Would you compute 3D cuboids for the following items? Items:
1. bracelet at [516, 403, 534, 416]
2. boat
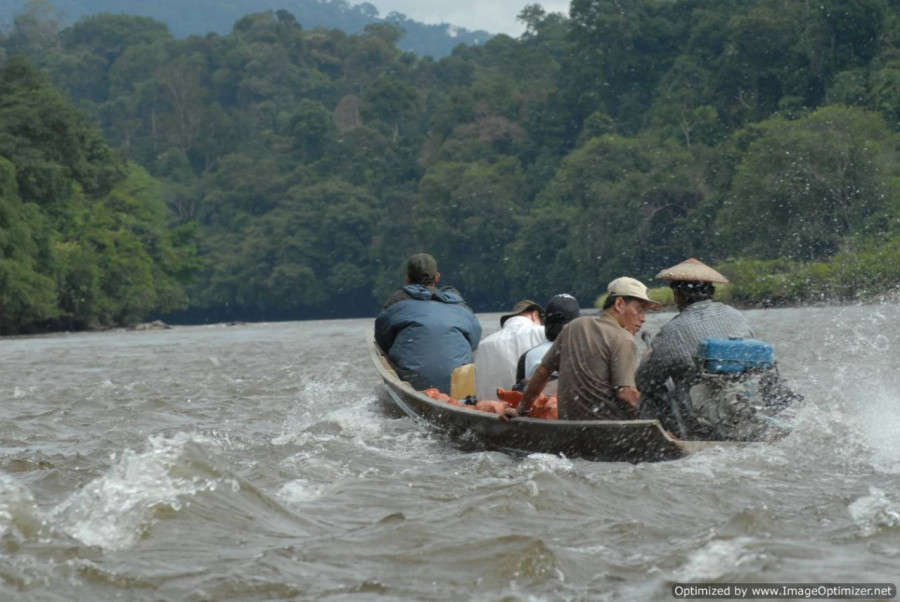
[{"bbox_3d":[2.162,3.083,37.261,0.401,0.264,0.371,3,5,3],"label":"bracelet"},{"bbox_3d":[4.436,2.948,37.739,14.008,2.229,3.572,6,-5,16],"label":"boat"}]
